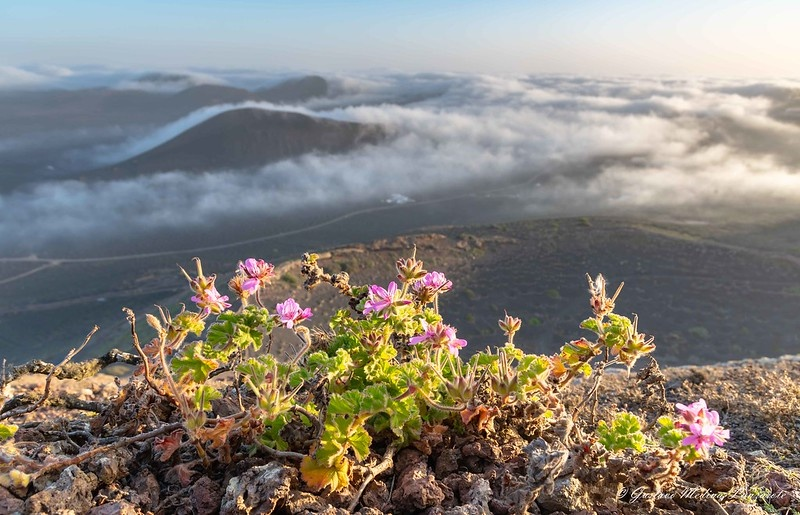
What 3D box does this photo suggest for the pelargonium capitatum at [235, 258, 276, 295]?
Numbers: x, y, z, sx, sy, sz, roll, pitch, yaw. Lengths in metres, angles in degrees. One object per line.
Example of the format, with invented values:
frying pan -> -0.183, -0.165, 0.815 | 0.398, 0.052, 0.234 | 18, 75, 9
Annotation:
pelargonium capitatum -> -1.634, 0.209, 6.843 | 0.438, 0.421, 0.265 | -1, -4, -4

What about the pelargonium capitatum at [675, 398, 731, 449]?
pelargonium capitatum -> 3.135, 1.723, 6.190 | 0.569, 0.549, 0.294 | -9, -2, 16

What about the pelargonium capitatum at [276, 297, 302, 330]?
pelargonium capitatum -> -1.259, 0.641, 6.681 | 0.319, 0.377, 0.219 | 31, 42, 34
